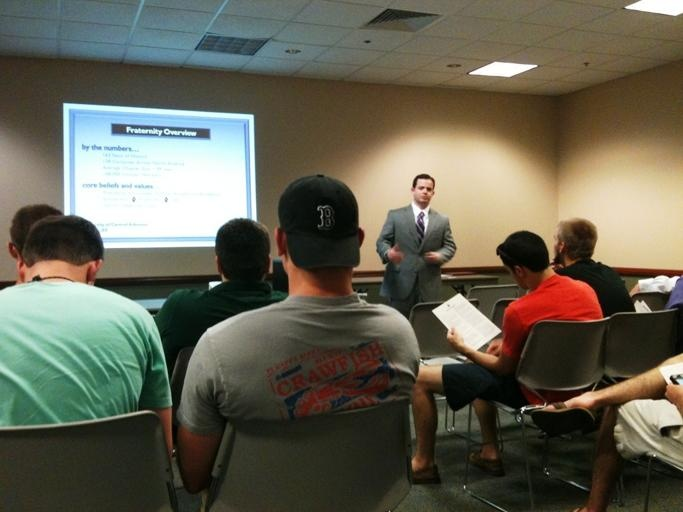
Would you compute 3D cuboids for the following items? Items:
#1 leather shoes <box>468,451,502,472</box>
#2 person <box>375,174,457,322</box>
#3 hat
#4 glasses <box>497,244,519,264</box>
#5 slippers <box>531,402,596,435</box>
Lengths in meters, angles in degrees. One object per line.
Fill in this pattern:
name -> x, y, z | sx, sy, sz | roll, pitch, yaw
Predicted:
leather shoes -> 0.871, 1.248, 3.266 | 0.080, 0.093, 0.209 | 0, 4, -24
person -> 0.770, 0.139, 5.463 | 0.722, 1.883, 0.598 | 4, 1, 1
hat -> -0.069, -0.106, 1.700 | 0.189, 0.157, 0.318 | -1, 42, -11
glasses -> 0.936, -0.002, 3.037 | 0.092, 0.106, 0.031 | 8, -28, -33
slippers -> 1.024, 0.711, 2.468 | 0.269, 0.166, 0.100 | -7, 43, 13
